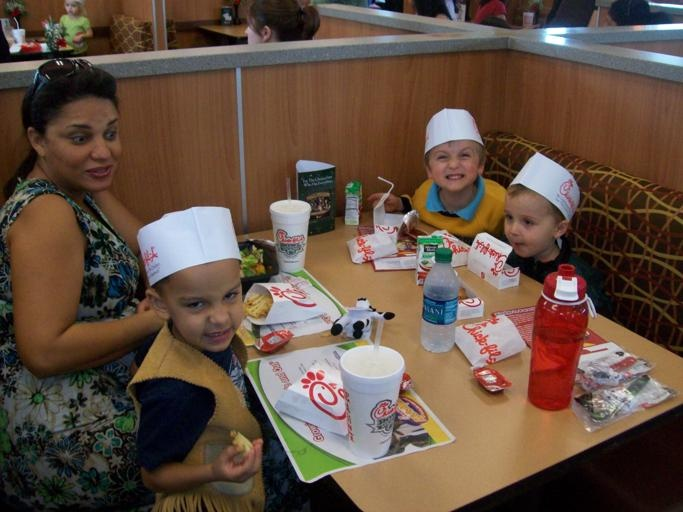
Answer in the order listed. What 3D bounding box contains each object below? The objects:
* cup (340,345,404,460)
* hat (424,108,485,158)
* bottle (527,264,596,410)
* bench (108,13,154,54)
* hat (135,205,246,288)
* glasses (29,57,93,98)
[{"bbox_3d":[0.067,0.302,1.071,0.133,0.208,0.139,-3,24,1],"label":"cup"},{"bbox_3d":[0.441,-0.498,2.030,0.192,0.121,0.191,-11,12,2],"label":"hat"},{"bbox_3d":[0.498,0.197,1.150,0.106,0.310,0.120,8,27,23],"label":"bottle"},{"bbox_3d":[-2.175,-2.290,5.160,0.278,0.364,0.895,-17,28,-28],"label":"bench"},{"bbox_3d":[-0.343,0.006,1.122,0.193,0.117,0.190,-21,-5,-12],"label":"hat"},{"bbox_3d":[-0.711,-0.464,1.300,0.137,0.046,0.135,-17,56,-26],"label":"glasses"}]
